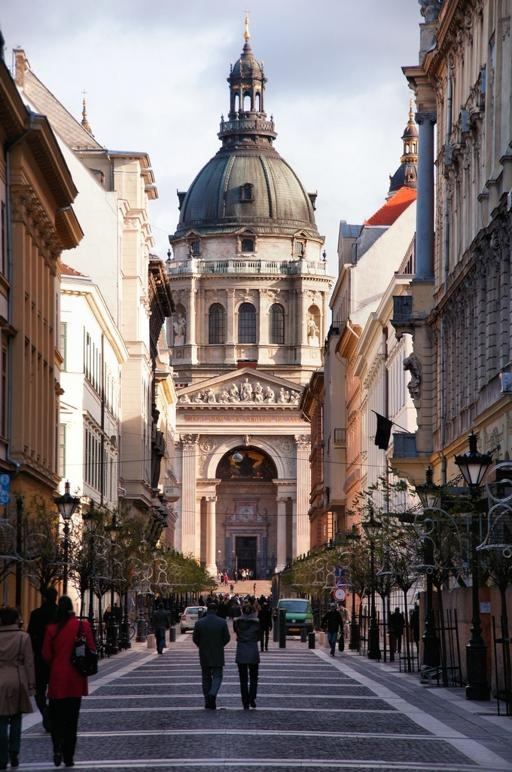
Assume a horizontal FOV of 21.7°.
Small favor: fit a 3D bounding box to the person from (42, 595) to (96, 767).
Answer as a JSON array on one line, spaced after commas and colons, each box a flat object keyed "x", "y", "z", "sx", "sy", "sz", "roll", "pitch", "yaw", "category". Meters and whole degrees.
[{"x": -1.520, "y": 2.393, "z": 11.016, "sx": 0.432, "sy": 1.454, "sz": 0.952, "roll": 2, "pitch": -15, "yaw": -9, "category": "person"}]

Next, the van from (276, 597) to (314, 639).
[{"x": 2.064, "y": 10.846, "z": 62.437, "sx": 1.513, "sy": 1.748, "sz": 3.001, "roll": 0, "pitch": -9, "yaw": 1, "category": "van"}]
